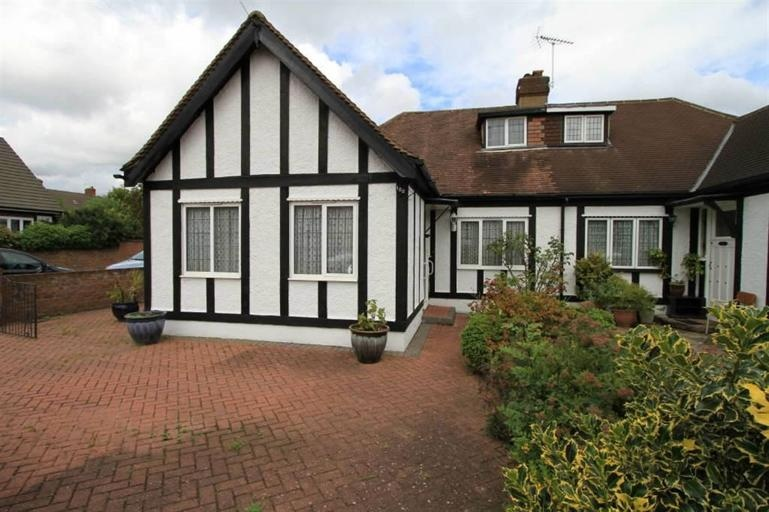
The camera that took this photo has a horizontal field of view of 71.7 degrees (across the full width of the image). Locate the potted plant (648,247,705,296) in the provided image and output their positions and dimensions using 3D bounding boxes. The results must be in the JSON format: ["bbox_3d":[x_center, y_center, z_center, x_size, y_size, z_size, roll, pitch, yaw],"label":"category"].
[{"bbox_3d":[10.748,0.531,19.495,1.829,1.691,0.780,-3,-2,19],"label":"potted plant"}]

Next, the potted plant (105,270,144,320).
[{"bbox_3d":[-9.438,1.472,19.339,0.914,1.212,0.859,1,-2,-1],"label":"potted plant"}]

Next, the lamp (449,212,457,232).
[{"bbox_3d":[2.662,-1.321,20.465,0.267,0.776,0.331,1,2,6],"label":"lamp"}]
